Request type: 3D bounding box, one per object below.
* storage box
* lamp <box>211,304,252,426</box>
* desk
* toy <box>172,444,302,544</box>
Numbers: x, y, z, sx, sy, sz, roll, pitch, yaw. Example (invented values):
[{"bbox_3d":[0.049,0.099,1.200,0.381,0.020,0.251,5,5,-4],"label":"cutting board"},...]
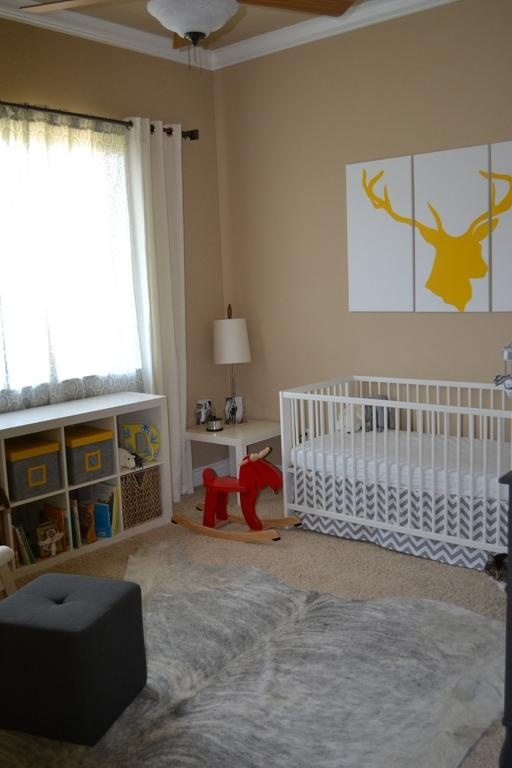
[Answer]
[{"bbox_3d":[-0.933,0.352,2.813,0.199,0.249,0.570,1,6,36],"label":"storage box"},{"bbox_3d":[-0.153,-0.138,3.938,0.249,0.776,0.408,-2,4,-1],"label":"lamp"},{"bbox_3d":[-0.124,0.407,3.785,0.478,0.488,0.489,5,7,37],"label":"desk"},{"bbox_3d":[-0.107,0.549,3.119,0.649,0.484,0.257,4,9,29],"label":"toy"}]
